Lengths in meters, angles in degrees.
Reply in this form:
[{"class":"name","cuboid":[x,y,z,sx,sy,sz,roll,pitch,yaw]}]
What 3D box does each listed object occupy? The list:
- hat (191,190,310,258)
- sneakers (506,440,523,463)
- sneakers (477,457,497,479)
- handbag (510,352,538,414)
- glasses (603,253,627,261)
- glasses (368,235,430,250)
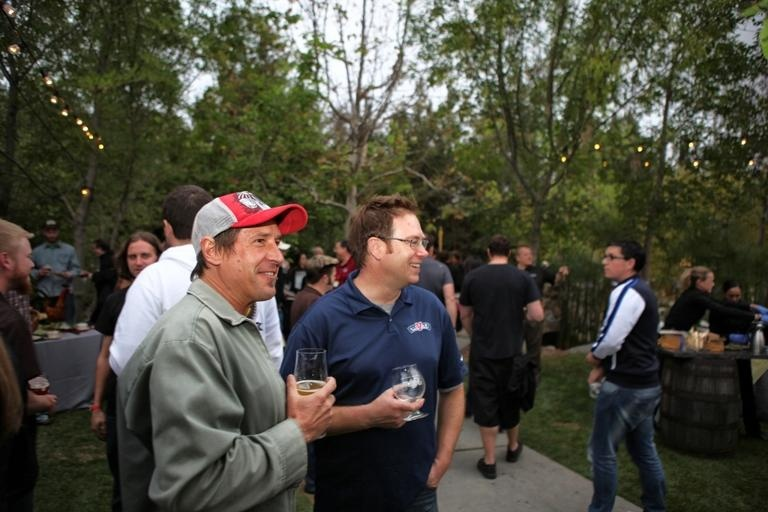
[{"class":"hat","cuboid":[-1.109,-0.341,4.746,0.804,0.398,0.559,-17,2,12]},{"class":"sneakers","cuboid":[1.699,2.574,7.679,0.110,0.141,0.315,-1,1,24]},{"class":"sneakers","cuboid":[1.300,2.646,7.364,0.247,0.242,0.214,5,-1,8]},{"class":"handbag","cuboid":[1.767,1.606,7.496,0.427,0.715,0.159,5,0,-28]},{"class":"glasses","cuboid":[2.682,0.014,6.827,0.105,0.068,0.250,6,-2,-30]},{"class":"glasses","cuboid":[0.125,-0.128,5.117,0.490,0.116,0.184,6,-2,-19]}]
